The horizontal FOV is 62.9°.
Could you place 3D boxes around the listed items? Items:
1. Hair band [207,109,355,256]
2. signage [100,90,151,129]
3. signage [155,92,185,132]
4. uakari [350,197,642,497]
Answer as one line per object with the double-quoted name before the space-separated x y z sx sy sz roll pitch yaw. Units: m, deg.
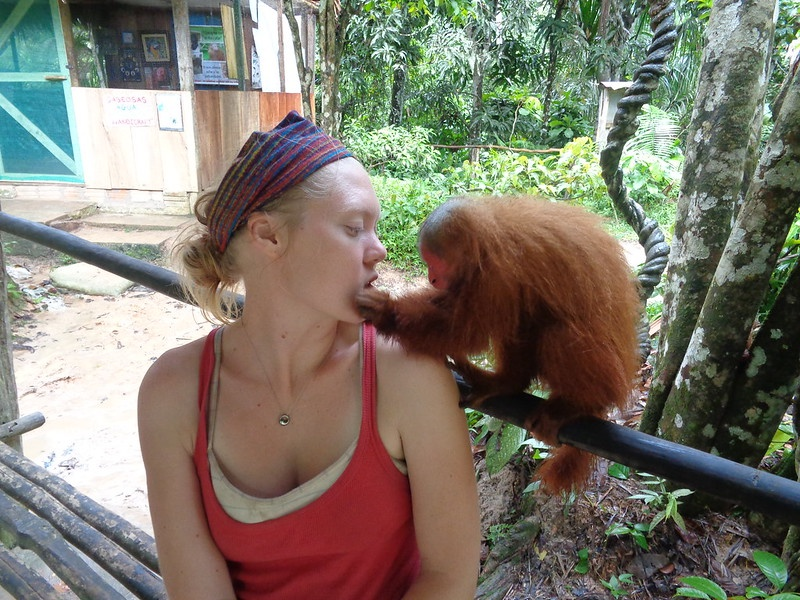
"Hair band" -0.402 -0.370 2.050 0.213 0.404 0.323 52 19 13
"signage" -3.247 -2.291 7.795 0.783 0.426 0.125 13 24 22
"signage" -2.668 -2.222 7.599 0.425 0.596 0.060 2 19 13
"uakari" 0.346 0.087 2.289 1.022 0.876 0.709 6 15 10
